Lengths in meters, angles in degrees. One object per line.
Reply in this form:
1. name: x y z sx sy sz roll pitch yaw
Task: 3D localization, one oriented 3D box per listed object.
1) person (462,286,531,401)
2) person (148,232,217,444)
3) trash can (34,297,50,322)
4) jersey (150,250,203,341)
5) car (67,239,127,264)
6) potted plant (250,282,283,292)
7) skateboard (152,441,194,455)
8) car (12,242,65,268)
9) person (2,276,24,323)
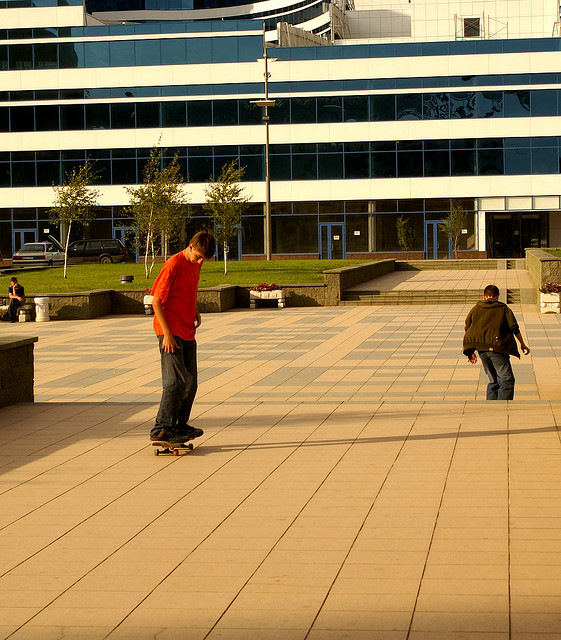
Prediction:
1. person: 2.465 0.264 9.251 0.730 1.282 0.329 2 5 41
2. person: -0.818 0.152 6.598 0.530 1.719 0.555 -3 4 -17
3. trash can: -6.731 -0.301 22.677 0.382 0.677 0.310 -3 4 -19
4. jersey: -0.838 -0.188 6.597 0.411 0.728 0.142 -4 4 -33
5. car: -11.457 -4.450 49.643 4.686 1.343 1.964 1 2 -10
6. potted plant: -0.459 -1.029 25.808 1.042 0.235 0.377 -1 4 -4
7. skateboard: -0.871 1.035 6.644 0.358 0.129 0.177 -3 4 -22
8. car: -14.015 -3.762 46.563 1.661 0.935 2.762 1 4 13
9. person: -7.661 -0.595 23.027 0.604 1.237 2.483 -3 4 -18
